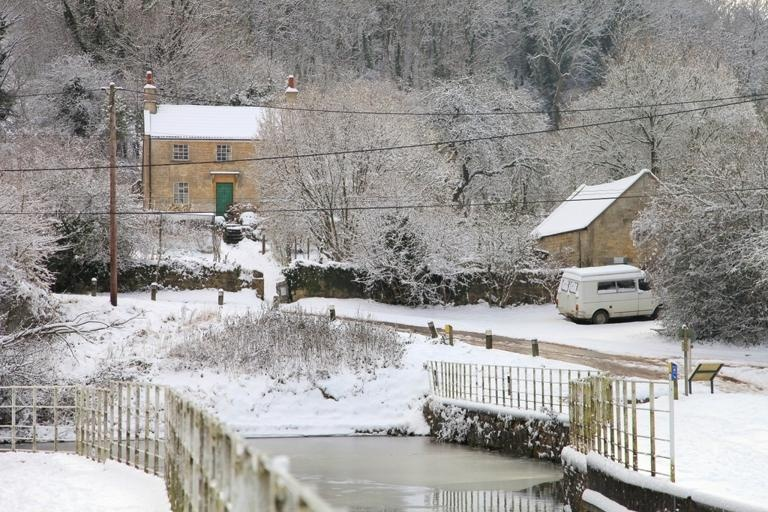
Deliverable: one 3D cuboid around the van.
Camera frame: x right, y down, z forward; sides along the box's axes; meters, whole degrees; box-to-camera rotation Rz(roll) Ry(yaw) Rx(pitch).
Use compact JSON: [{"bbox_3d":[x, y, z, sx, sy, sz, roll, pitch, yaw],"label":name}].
[{"bbox_3d":[12.657,2.161,68.968,4.677,2.794,3.018,-4,5,-12],"label":"van"}]
